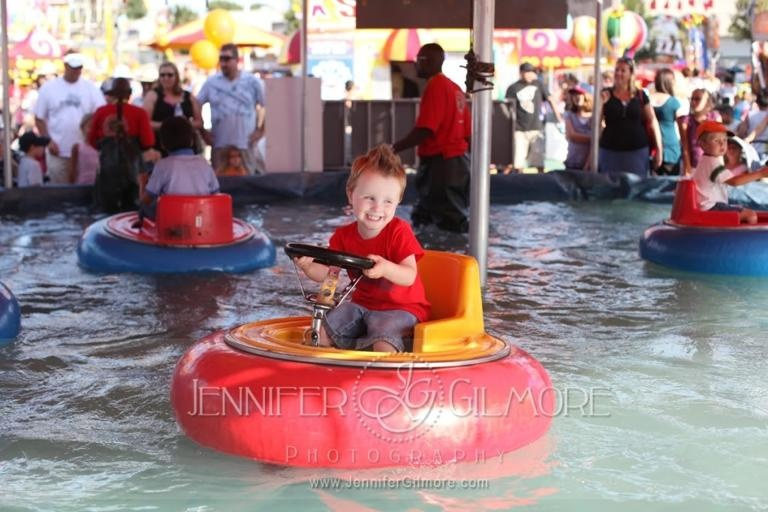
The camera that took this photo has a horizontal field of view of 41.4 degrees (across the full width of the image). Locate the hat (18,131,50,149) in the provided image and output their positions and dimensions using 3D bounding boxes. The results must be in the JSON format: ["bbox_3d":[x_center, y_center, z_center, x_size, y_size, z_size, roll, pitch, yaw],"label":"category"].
[{"bbox_3d":[-3.681,-1.245,10.832,0.298,0.135,0.174,-8,21,-21],"label":"hat"}]

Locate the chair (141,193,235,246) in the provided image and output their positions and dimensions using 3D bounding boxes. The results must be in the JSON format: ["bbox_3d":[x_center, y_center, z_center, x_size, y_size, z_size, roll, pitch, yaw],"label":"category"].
[{"bbox_3d":[-1.485,-0.306,8.321,0.679,0.352,0.623,-2,9,-9],"label":"chair"}]

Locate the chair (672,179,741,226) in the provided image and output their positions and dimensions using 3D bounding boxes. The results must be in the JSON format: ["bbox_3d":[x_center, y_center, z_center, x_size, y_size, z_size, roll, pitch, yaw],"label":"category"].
[{"bbox_3d":[2.632,-0.441,8.557,0.680,0.349,0.669,1,6,-15],"label":"chair"}]

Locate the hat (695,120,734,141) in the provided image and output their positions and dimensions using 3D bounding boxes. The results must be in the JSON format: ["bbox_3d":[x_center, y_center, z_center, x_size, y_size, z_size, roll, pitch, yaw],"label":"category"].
[{"bbox_3d":[2.679,-1.040,8.336,0.223,0.151,0.239,6,12,37],"label":"hat"}]

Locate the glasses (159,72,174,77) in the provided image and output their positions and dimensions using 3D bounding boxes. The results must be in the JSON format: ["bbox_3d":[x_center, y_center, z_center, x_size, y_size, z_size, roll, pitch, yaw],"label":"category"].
[{"bbox_3d":[-2.271,-1.925,10.713,0.152,0.054,0.111,0,10,7],"label":"glasses"}]

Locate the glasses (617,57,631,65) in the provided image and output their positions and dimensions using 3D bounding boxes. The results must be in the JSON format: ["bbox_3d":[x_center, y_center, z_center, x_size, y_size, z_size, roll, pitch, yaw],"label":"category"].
[{"bbox_3d":[2.428,-1.998,10.303,0.133,0.045,0.127,10,9,22],"label":"glasses"}]

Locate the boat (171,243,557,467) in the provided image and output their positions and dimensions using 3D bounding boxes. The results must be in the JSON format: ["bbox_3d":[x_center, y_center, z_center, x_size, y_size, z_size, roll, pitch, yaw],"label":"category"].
[{"bbox_3d":[-0.099,0.498,5.858,2.155,0.848,2.027,-3,8,-30],"label":"boat"}]
